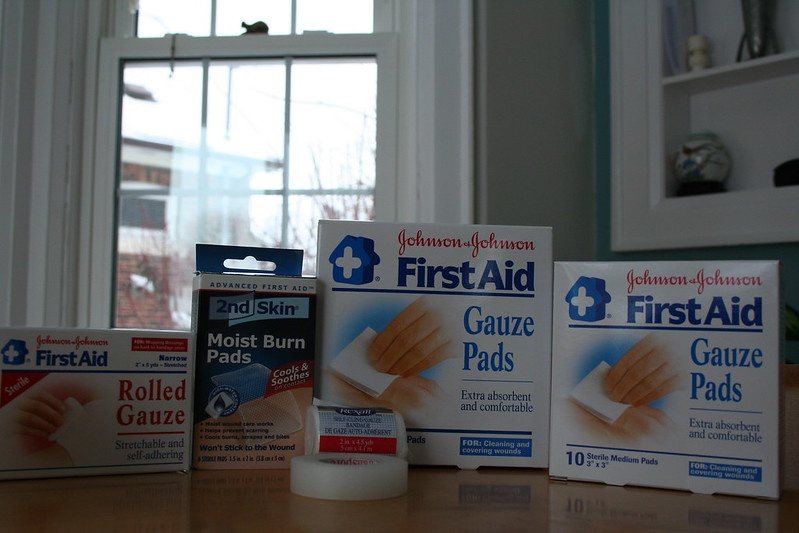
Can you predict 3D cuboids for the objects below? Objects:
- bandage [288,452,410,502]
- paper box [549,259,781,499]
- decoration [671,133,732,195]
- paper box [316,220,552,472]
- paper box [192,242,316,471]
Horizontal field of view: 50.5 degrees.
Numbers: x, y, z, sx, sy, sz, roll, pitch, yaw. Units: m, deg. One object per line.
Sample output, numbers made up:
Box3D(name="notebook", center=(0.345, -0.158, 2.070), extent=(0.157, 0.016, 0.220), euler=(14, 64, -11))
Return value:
Box3D(name="bandage", center=(-0.086, 0.354, 1.431), extent=(0.209, 0.058, 0.224), euler=(0, -7, 16))
Box3D(name="paper box", center=(0.446, 0.195, 1.396), extent=(0.332, 0.367, 0.116), euler=(1, -4, 8))
Box3D(name="decoration", center=(0.687, -0.237, 1.958), extent=(0.116, 0.148, 0.121), euler=(1, -1, 7))
Box3D(name="paper box", center=(0.056, 0.157, 1.465), extent=(0.377, 0.422, 0.132), euler=(1, -2, 0))
Box3D(name="paper box", center=(-0.262, 0.150, 1.506), extent=(0.199, 0.382, 0.137), euler=(2, 0, -13))
